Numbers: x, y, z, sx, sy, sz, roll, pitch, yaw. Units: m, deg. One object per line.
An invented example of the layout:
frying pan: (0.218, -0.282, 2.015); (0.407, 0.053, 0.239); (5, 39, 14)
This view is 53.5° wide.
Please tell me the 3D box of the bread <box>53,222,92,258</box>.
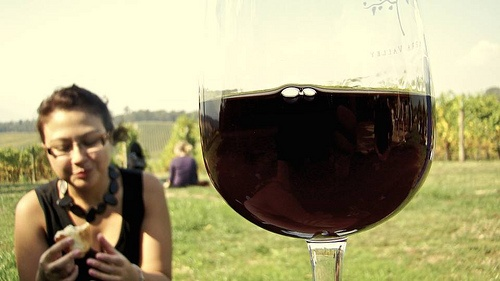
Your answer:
bread: (-1.816, 1.030, 5.088); (0.338, 0.337, 0.229); (-5, 3, -29)

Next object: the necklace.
necklace: (-1.718, 0.585, 5.377); (0.541, 0.610, 0.159); (-2, 5, 0)
